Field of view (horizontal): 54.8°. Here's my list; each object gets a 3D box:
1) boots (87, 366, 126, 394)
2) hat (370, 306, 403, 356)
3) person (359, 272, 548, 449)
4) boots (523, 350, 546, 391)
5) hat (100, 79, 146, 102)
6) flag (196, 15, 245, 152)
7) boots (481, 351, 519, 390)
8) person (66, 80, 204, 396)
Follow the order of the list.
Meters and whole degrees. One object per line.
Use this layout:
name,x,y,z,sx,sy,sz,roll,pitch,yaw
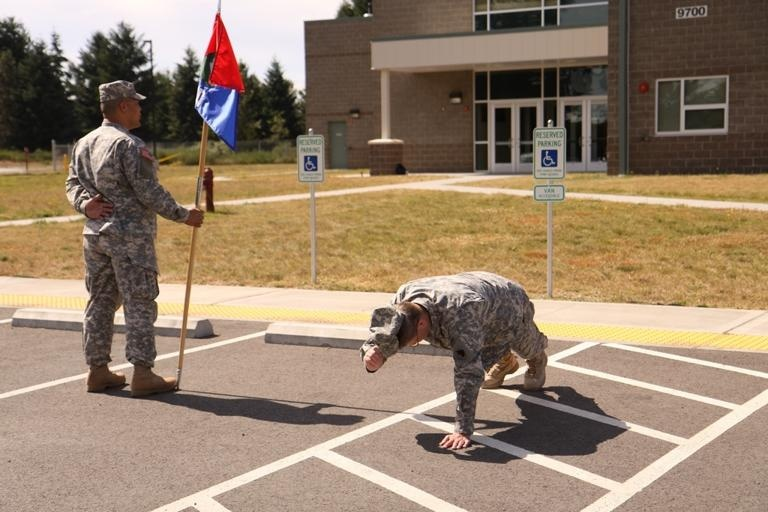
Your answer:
boots,-2.624,1.202,7.264,0.169,0.221,0.466,6,7,34
hat,0.003,0.562,5.646,0.150,0.330,0.336,9,-6,-44
person,0.682,0.749,6.467,1.954,1.135,1.178,-16,17,-43
boots,1.432,1.088,7.025,0.158,0.409,0.306,14,6,30
hat,-2.425,-1.585,7.135,0.537,0.208,0.348,-9,18,-24
flag,-1.687,-1.782,7.575,0.478,1.359,0.694,-4,12,-11
boots,1.086,1.083,7.171,0.436,0.301,0.156,-33,43,-7
person,-2.455,0.077,7.031,1.148,2.531,0.519,3,13,21
